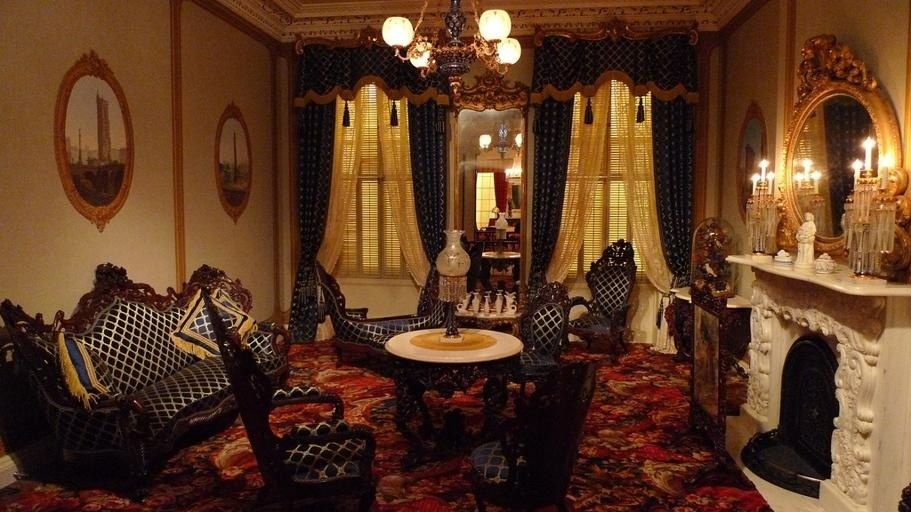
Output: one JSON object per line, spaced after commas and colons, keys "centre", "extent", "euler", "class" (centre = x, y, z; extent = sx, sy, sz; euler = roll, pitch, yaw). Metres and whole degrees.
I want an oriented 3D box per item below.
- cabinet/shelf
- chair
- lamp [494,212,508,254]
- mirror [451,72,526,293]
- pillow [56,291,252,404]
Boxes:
{"centre": [3.165, 0.913, 7.597], "extent": [0.509, 0.728, 1.273], "euler": [0, 5, 0], "class": "cabinet/shelf"}
{"centre": [-0.251, 1.618, 6.082], "extent": [3.120, 1.666, 2.407], "euler": [-1, 8, 8], "class": "chair"}
{"centre": [0.713, -0.365, 9.947], "extent": [0.246, 0.678, 0.243], "euler": [1, 0, -37], "class": "lamp"}
{"centre": [0.575, -1.307, 9.666], "extent": [1.319, 3.390, 0.101], "euler": [-1, -5, -2], "class": "mirror"}
{"centre": [-3.397, 1.029, 6.738], "extent": [0.419, 0.543, 1.201], "euler": [5, 14, 24], "class": "pillow"}
